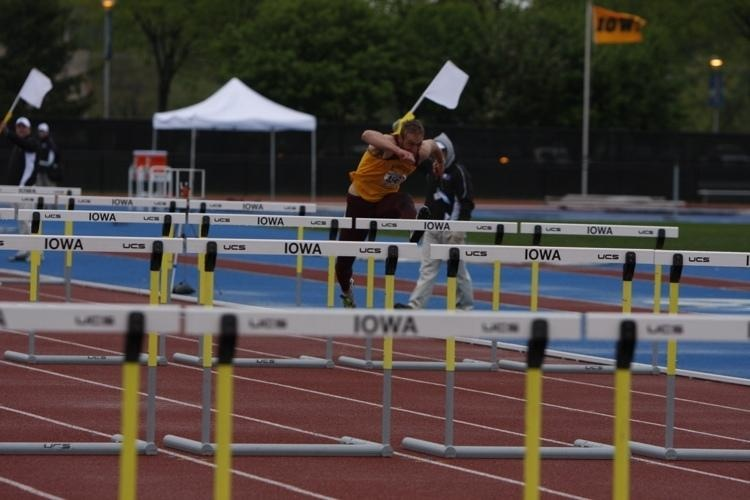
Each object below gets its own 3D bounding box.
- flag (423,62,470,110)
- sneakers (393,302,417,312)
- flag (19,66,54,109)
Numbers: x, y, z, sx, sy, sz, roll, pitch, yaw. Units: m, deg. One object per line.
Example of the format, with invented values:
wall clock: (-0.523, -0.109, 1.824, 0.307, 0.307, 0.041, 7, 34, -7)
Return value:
flag: (1.336, -3.307, 27.564, 0.922, 0.966, 0.236, 42, -21, -17)
sneakers: (0.535, 0.959, 24.968, 0.225, 0.170, 0.540, -8, 7, -30)
flag: (-7.766, -3.750, 31.599, 0.664, 0.897, 1.893, 2, 5, -14)
